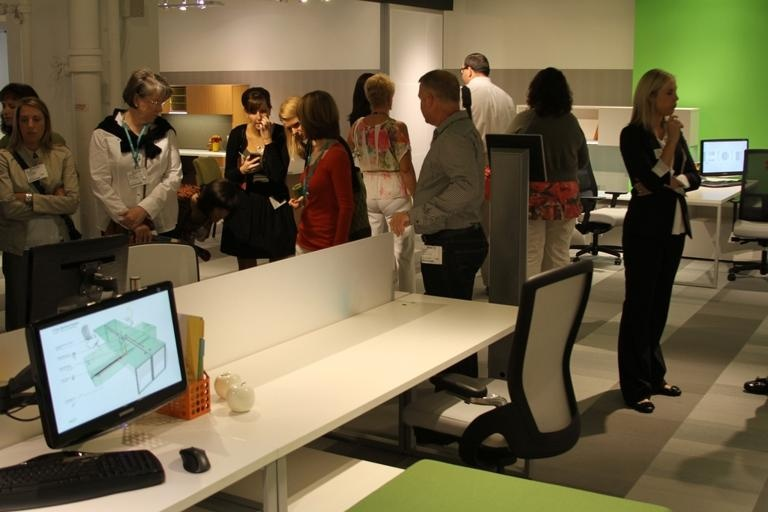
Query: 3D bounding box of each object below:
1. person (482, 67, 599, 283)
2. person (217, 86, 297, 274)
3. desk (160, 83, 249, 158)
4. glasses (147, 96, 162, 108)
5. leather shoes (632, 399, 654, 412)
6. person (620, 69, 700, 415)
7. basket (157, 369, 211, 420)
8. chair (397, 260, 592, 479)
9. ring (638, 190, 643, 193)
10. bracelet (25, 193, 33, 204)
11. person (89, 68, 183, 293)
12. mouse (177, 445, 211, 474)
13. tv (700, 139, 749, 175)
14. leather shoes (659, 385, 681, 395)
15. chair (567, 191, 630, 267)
[{"bbox_3d":[1.406,-0.587,5.269,0.755,2.099,0.669,-10,26,-11],"label":"person"},{"bbox_3d":[-0.797,-0.369,3.682,0.450,1.297,0.483,4,9,3],"label":"person"},{"bbox_3d":[-2.742,-2.067,9.211,1.389,1.212,0.447,1,6,23],"label":"desk"},{"bbox_3d":[-1.563,-1.059,4.035,0.053,0.060,0.046,-14,-28,19],"label":"glasses"},{"bbox_3d":[1.912,1.120,4.313,0.156,0.056,0.072,-16,37,-14],"label":"leather shoes"},{"bbox_3d":[1.933,-0.075,4.215,0.473,2.427,0.490,1,15,5],"label":"person"},{"bbox_3d":[-0.821,0.574,2.479,0.182,0.178,0.181,2,4,17],"label":"basket"},{"bbox_3d":[0.588,0.646,3.038,0.759,1.120,0.858,-6,2,-39],"label":"chair"},{"bbox_3d":[1.819,-0.460,4.149,0.032,0.022,0.008,7,6,44],"label":"ring"},{"bbox_3d":[-2.507,-0.412,4.162,0.051,0.067,0.025,4,-4,-16],"label":"bracelet"},{"bbox_3d":[-1.837,-0.431,4.421,0.624,1.761,0.604,-8,25,-32],"label":"person"},{"bbox_3d":[-0.680,0.729,2.099,0.160,0.057,0.080,12,19,38],"label":"mouse"},{"bbox_3d":[4.791,-1.399,8.292,0.721,0.508,0.043,-2,4,-8],"label":"tv"},{"bbox_3d":[2.223,1.044,4.552,0.147,0.062,0.073,-1,9,23],"label":"leather shoes"},{"bbox_3d":[2.951,-0.462,8.015,0.767,0.915,0.784,11,-10,-35],"label":"chair"}]
